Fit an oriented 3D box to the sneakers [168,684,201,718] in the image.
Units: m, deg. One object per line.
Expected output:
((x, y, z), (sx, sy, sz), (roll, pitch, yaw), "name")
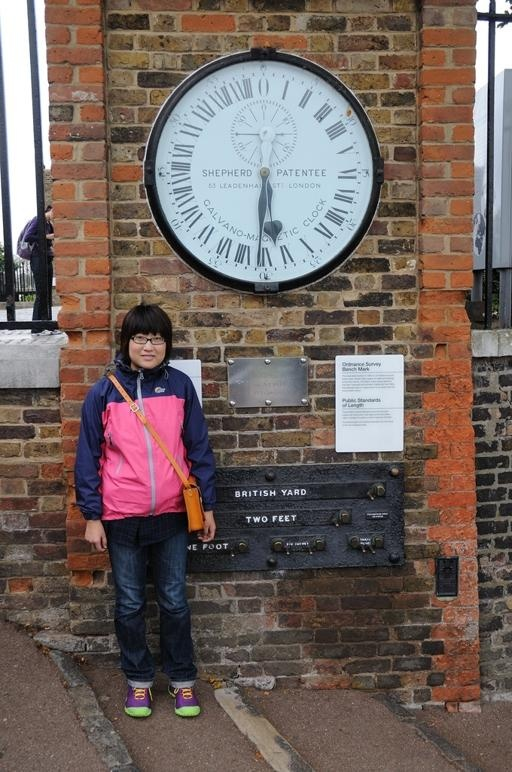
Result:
((-0.308, 1.405, 4.190), (0.082, 0.071, 0.168), (2, -3, -19), "sneakers")

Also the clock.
((0.011, -1.031, 4.347), (1.210, 1.160, 0.072), (0, 12, 0), "clock")

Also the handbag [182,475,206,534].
((-0.267, 0.504, 4.095), (0.101, 0.233, 0.249), (-13, 3, -4), "handbag")

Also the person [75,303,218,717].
((-0.477, 0.563, 4.148), (0.601, 1.823, 0.275), (-2, 5, -4), "person")
